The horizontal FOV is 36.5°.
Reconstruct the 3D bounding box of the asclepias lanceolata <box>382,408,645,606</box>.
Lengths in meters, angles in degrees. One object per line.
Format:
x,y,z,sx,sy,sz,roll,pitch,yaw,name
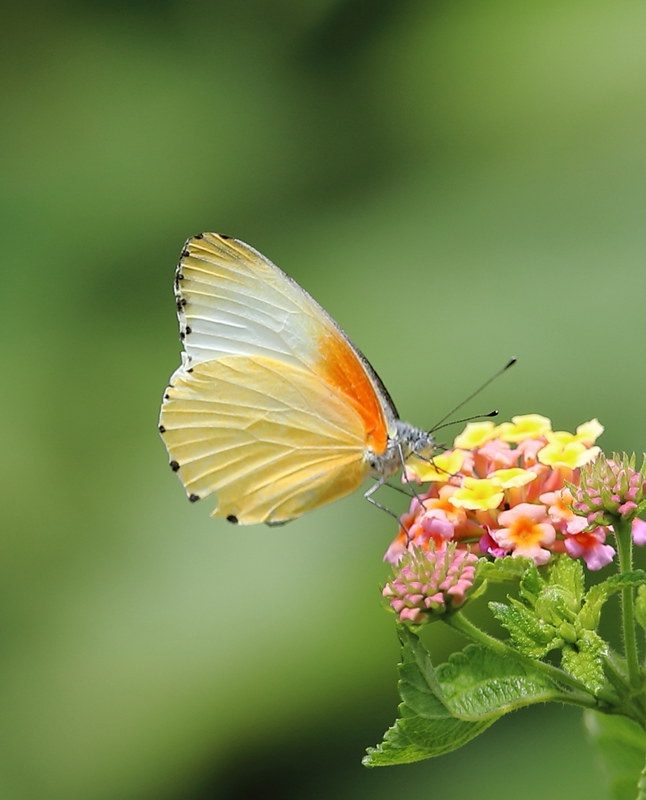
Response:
0.522,0.233,2.533,0.574,0.234,0.557,-12,11,-8,asclepias lanceolata
